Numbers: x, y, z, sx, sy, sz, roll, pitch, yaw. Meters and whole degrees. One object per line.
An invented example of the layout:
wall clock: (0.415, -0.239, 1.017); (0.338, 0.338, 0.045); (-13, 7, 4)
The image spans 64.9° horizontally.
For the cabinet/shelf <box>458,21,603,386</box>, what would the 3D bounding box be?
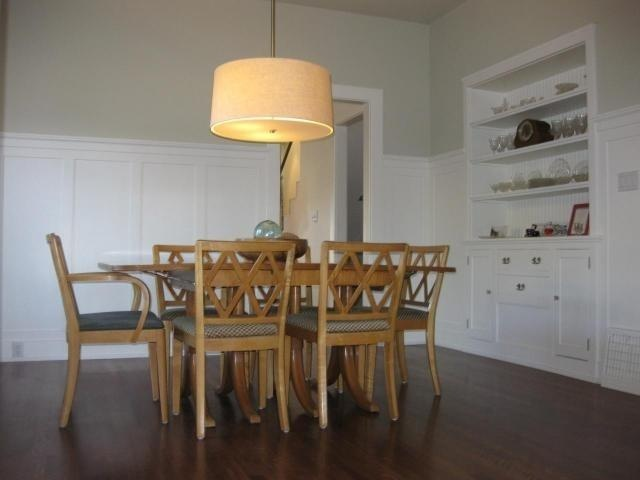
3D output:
cabinet/shelf: (2.089, -0.327, 4.904); (0.699, 3.028, 1.709); (-1, 3, -28)

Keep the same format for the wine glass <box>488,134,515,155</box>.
wine glass: (1.901, -1.013, 5.287); (0.197, 0.220, 0.192); (-2, -1, -3)

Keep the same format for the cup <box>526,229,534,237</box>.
cup: (2.026, -0.063, 4.861); (0.053, 0.060, 0.058); (0, 5, 1)

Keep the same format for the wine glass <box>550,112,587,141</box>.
wine glass: (2.311, -1.037, 4.624); (0.219, 0.123, 0.301); (-2, -6, -22)

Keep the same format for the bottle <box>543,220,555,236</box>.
bottle: (2.213, -0.107, 4.816); (0.080, 0.151, 0.142); (0, -3, 9)

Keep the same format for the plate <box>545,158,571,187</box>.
plate: (2.250, -0.650, 4.745); (0.192, 0.280, 0.389); (1, 3, 26)

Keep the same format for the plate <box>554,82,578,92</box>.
plate: (2.262, -1.390, 4.673); (0.128, 0.040, 0.141); (-1, -5, 1)

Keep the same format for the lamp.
lamp: (-0.323, -0.979, 3.644); (0.805, 1.081, 0.888); (1, -4, -3)

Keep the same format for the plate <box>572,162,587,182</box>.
plate: (2.328, -0.606, 4.508); (0.144, 0.152, 0.188); (5, 1, 15)
